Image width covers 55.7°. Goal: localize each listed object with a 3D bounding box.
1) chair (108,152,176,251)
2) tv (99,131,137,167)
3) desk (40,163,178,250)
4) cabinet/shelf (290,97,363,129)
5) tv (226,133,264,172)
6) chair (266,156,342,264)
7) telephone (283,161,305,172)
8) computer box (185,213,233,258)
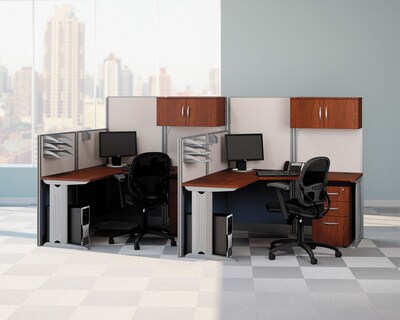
[{"bbox_3d":[-0.768,0.514,5.019,0.920,1.117,0.845,2,-5,-35],"label":"chair"},{"bbox_3d":[-1.298,-0.160,5.826,0.608,0.531,0.194,-3,3,-39],"label":"tv"},{"bbox_3d":[-1.251,0.458,5.028,1.313,0.770,1.269,1,4,15],"label":"desk"},{"bbox_3d":[1.658,-0.622,5.260,0.956,0.413,0.367,0,4,-6],"label":"cabinet/shelf"},{"bbox_3d":[0.587,-0.095,5.383,0.582,0.521,0.200,-2,-1,-24],"label":"tv"},{"bbox_3d":[1.224,0.569,4.563,0.891,1.130,0.871,0,-1,-15],"label":"chair"},{"bbox_3d":[1.298,0.087,5.301,0.196,0.119,0.175,1,-2,5],"label":"telephone"},{"bbox_3d":[0.126,0.924,4.472,0.503,0.431,0.288,-3,-13,6],"label":"computer box"}]
